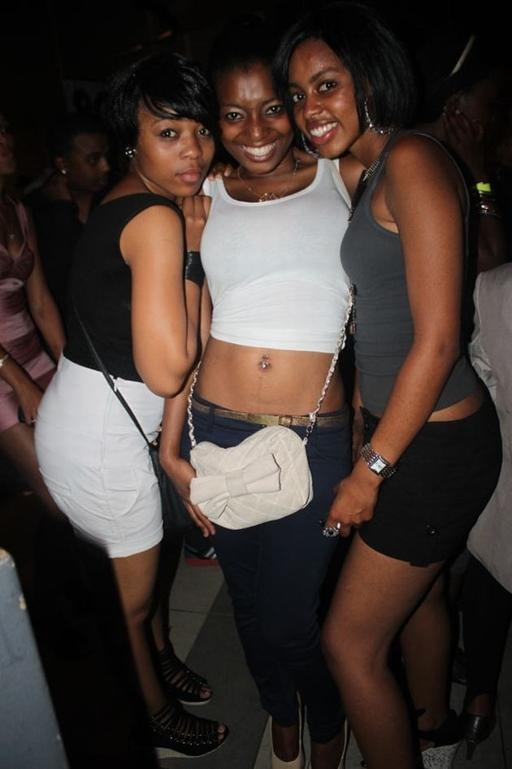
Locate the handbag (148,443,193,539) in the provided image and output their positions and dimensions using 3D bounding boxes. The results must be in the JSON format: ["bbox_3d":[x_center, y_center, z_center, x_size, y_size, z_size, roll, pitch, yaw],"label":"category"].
[{"bbox_3d":[-0.253,0.322,1.847,0.093,0.372,0.128,-9,36,-11],"label":"handbag"}]

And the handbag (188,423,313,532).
[{"bbox_3d":[-0.008,0.236,1.495,0.299,0.242,0.135,-3,8,29],"label":"handbag"}]

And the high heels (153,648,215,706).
[{"bbox_3d":[-0.298,0.988,2.134,0.295,0.118,0.099,2,12,33],"label":"high heels"}]

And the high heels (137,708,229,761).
[{"bbox_3d":[-0.218,1.084,1.931,0.313,0.132,0.101,-2,44,5],"label":"high heels"}]

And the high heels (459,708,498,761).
[{"bbox_3d":[0.658,1.005,1.832,0.072,0.184,0.080,4,0,23],"label":"high heels"}]
